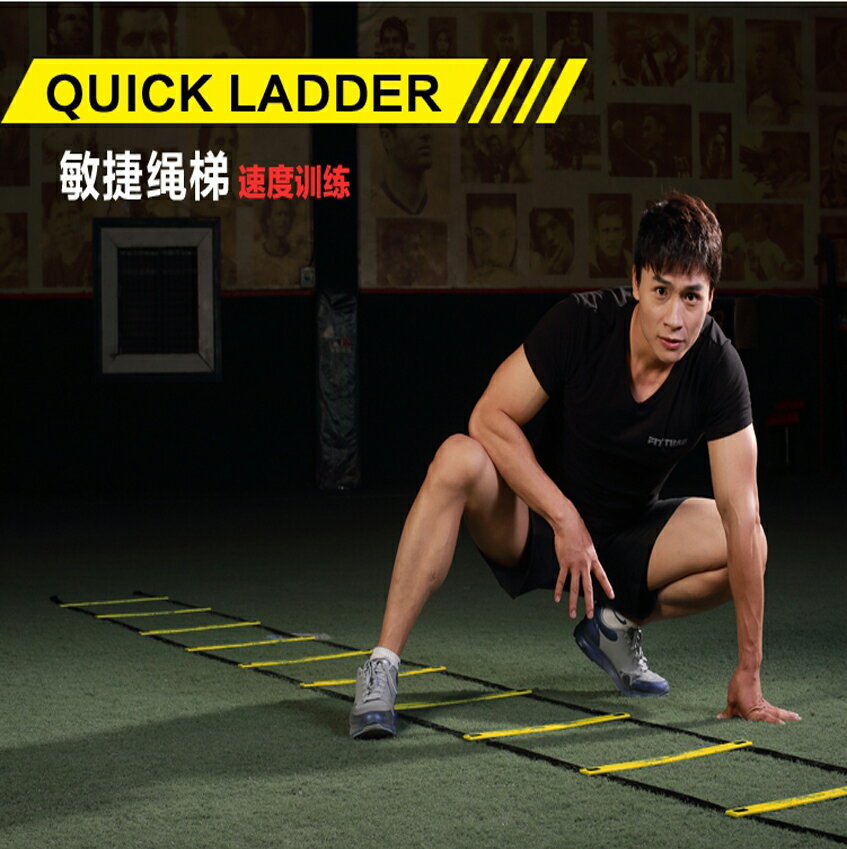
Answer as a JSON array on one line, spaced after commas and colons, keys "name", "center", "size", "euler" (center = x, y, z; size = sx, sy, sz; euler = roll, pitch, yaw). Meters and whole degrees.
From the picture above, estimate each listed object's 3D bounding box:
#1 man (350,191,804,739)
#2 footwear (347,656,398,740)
[{"name": "man", "center": [0.213, 0.088, 1.483], "size": [0.635, 0.916, 0.612], "euler": [6, 14, -9]}, {"name": "footwear", "center": [-0.082, 0.421, 1.395], "size": [0.078, 0.122, 0.096], "euler": [0, 2, 2]}]
